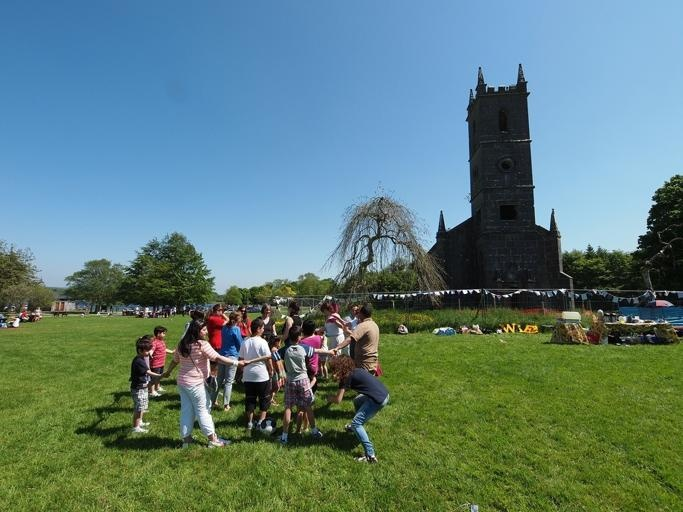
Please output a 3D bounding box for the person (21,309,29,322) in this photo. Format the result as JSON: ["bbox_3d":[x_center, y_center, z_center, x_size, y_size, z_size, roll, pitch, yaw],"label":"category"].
[{"bbox_3d":[-25.992,4.907,37.386,0.597,0.865,1.890,-7,12,-36],"label":"person"}]

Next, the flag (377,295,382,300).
[{"bbox_3d":[2.154,2.261,25.338,0.341,0.284,0.195,2,-9,-14],"label":"flag"}]

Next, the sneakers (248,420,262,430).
[{"bbox_3d":[-1.788,3.626,9.786,0.393,0.201,0.150,1,-3,-11],"label":"sneakers"}]

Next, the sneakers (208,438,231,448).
[{"bbox_3d":[-2.413,3.735,9.094,0.411,0.187,0.173,3,-7,-13],"label":"sneakers"}]

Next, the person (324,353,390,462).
[{"bbox_3d":[0.341,2.857,9.140,1.113,1.919,1.513,-1,9,-2],"label":"person"}]

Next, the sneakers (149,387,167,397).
[{"bbox_3d":[-4.735,3.551,11.807,0.383,0.207,0.136,-1,-4,3],"label":"sneakers"}]

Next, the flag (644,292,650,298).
[{"bbox_3d":[17.055,2.129,25.289,0.202,0.289,0.694,-14,-31,35],"label":"flag"}]

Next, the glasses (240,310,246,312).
[{"bbox_3d":[-2.461,1.361,11.417,0.075,0.038,0.107,2,1,15],"label":"glasses"}]

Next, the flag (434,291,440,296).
[{"bbox_3d":[5.062,1.939,23.904,0.182,0.210,0.345,-8,-18,16],"label":"flag"}]

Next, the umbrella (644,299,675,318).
[{"bbox_3d":[17.531,2.891,24.992,1.287,1.230,1.374,-2,-4,19],"label":"umbrella"}]

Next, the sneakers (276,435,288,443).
[{"bbox_3d":[-1.185,3.705,9.197,0.174,0.199,0.117,3,-16,12],"label":"sneakers"}]
